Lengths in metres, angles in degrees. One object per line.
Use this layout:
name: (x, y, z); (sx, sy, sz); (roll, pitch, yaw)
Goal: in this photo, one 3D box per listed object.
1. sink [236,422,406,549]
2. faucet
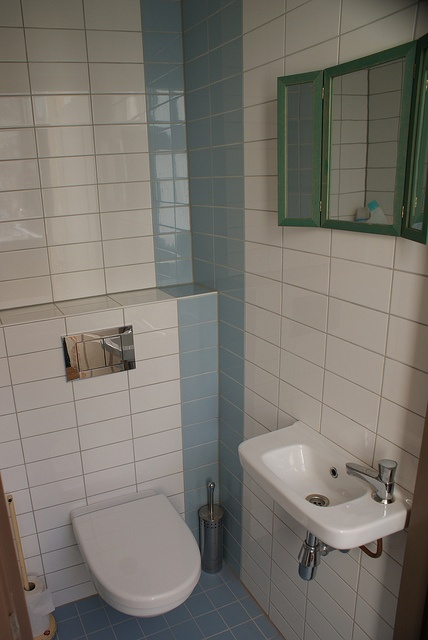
sink: (0.269, 0.447, 1.293); (0.249, 0.127, 0.512); (-6, 12, -23)
faucet: (0.383, 0.373, 1.158); (0.056, 0.105, 0.147); (-11, 22, -29)
